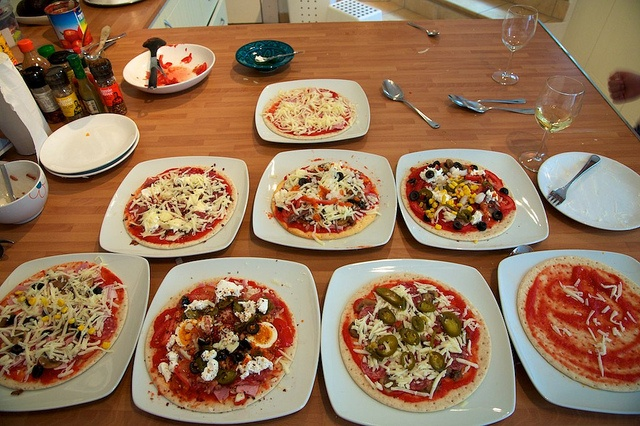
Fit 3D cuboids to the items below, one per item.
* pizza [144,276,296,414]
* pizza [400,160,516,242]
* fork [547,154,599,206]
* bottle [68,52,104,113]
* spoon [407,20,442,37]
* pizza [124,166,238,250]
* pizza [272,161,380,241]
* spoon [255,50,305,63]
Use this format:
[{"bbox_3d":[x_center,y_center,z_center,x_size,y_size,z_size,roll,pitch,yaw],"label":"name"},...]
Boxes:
[{"bbox_3d":[-0.665,0.858,3.049,0.977,0.178,0.852,14,57,6],"label":"pizza"},{"bbox_3d":[1.065,-0.119,3.580,0.886,0.138,0.721,19,58,9],"label":"pizza"},{"bbox_3d":[2.004,-0.242,3.676,0.550,0.046,0.097,-41,54,-20],"label":"fork"},{"bbox_3d":[-2.096,-1.111,4.124,0.164,0.671,0.161,4,57,-6],"label":"bottle"},{"bbox_3d":[1.129,-2.031,5.053,0.113,0.087,0.482,-16,34,-22],"label":"spoon"},{"bbox_3d":[-1.082,-0.052,3.585,0.873,0.130,0.726,-26,62,-19],"label":"pizza"},{"bbox_3d":[0.039,-0.103,3.577,0.844,0.169,0.652,-7,57,-8],"label":"pizza"},{"bbox_3d":[-0.440,-1.595,4.692,0.476,0.070,0.142,-11,57,-1],"label":"spoon"}]
